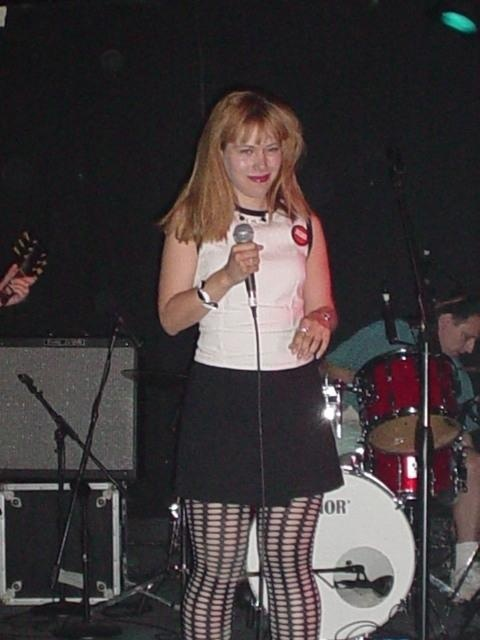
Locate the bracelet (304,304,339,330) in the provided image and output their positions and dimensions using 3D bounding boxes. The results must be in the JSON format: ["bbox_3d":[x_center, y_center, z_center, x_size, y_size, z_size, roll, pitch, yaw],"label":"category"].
[{"bbox_3d":[0.233,-0.013,2.499,0.085,0.024,0.060,25,36,14],"label":"bracelet"}]

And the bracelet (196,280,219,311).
[{"bbox_3d":[-0.094,-0.070,2.410,0.072,0.027,0.061,40,10,13],"label":"bracelet"}]

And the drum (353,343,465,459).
[{"bbox_3d":[0.673,0.331,3.447,0.460,0.288,0.420,-1,-42,-1],"label":"drum"}]
